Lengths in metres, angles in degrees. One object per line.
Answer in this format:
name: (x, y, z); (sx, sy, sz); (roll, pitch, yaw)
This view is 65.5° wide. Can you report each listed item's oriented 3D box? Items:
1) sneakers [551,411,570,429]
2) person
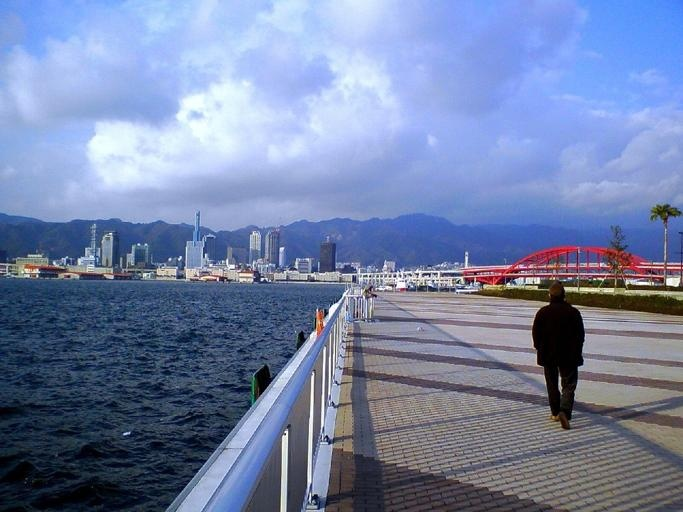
sneakers: (3.409, 2.539, 8.193); (0.123, 0.334, 0.145); (-13, 8, -9)
person: (3.493, 1.525, 8.544); (0.711, 2.208, 0.761); (1, -2, -41)
